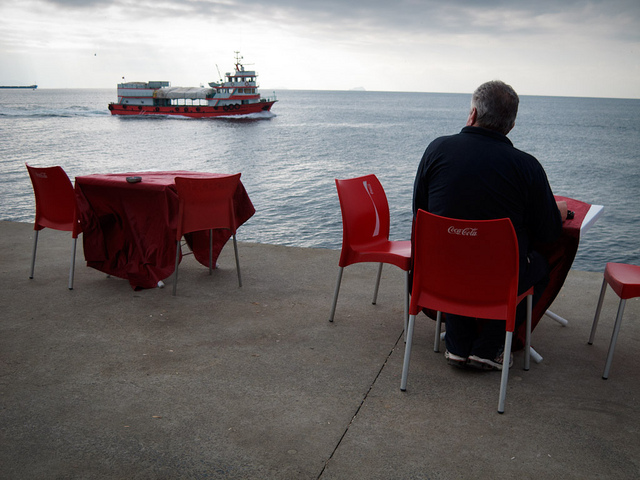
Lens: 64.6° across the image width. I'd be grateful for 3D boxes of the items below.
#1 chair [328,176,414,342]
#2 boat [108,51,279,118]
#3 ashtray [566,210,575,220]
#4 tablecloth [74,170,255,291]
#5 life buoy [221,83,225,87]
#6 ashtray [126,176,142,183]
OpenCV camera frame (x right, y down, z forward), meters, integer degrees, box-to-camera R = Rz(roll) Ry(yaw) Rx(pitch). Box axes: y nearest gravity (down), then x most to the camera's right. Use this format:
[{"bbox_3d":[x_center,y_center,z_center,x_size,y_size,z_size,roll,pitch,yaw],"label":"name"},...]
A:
[{"bbox_3d":[0.412,0.052,3.767,0.594,1.026,0.775,5,19,11],"label":"chair"},{"bbox_3d":[-13.493,-15.869,54.424,17.140,4.822,10.991,7,20,16],"label":"boat"},{"bbox_3d":[1.604,-0.159,3.203,0.043,0.055,0.023,17,6,38],"label":"ashtray"},{"bbox_3d":[-1.454,-0.109,4.658,1.406,1.078,1.467,27,18,36],"label":"tablecloth"},{"bbox_3d":[-9.458,-15.084,49.303,0.184,0.308,0.701,-10,22,-30],"label":"life buoy"},{"bbox_3d":[-1.484,-0.481,4.037,0.119,0.033,0.115,-6,20,-21],"label":"ashtray"}]
